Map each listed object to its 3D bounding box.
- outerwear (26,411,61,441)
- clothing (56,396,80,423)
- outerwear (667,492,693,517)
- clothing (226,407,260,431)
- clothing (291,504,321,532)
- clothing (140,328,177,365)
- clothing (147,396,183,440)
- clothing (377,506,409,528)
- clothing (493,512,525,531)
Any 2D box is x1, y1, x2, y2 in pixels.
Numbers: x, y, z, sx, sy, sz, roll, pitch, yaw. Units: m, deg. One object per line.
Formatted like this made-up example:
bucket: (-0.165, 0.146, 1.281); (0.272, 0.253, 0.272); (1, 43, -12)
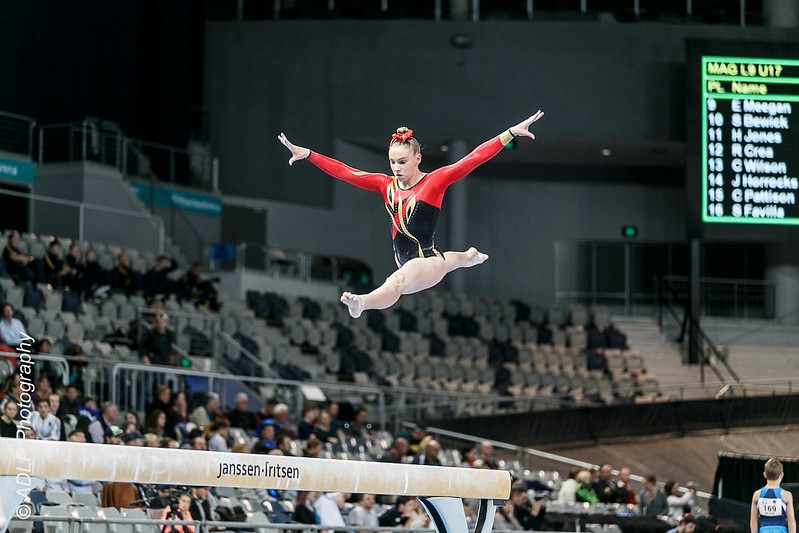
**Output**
outerwear: (-5.314, 2.416, 29.425); (0.346, 0.444, 0.250); (4, -29, -43)
clothing: (-5.094, 2.246, 30.329); (0.117, 0.364, 0.365); (-35, 2, 30)
outerwear: (4.558, 3.882, 31.857); (0.362, 0.379, 0.537); (-7, -10, 40)
clothing: (-2.570, 2.534, 32.429); (0.554, 0.577, 0.329); (1, -4, -15)
clothing: (-1.417, 3.816, 29.907); (0.355, 0.599, 0.643); (-1, -5, 3)
clothing: (-3.978, 1.382, 32.644); (0.591, 0.669, 0.372); (3, -15, -24)
clothing: (-3.653, 2.419, 30.836); (0.198, 0.565, 0.617); (-4, -5, 16)
clothing: (-0.111, 3.942, 30.584); (0.310, 0.183, 0.370); (-19, -4, -30)
clothing: (1.723, 4.113, 31.385); (0.314, 0.445, 0.365); (11, -16, -33)
